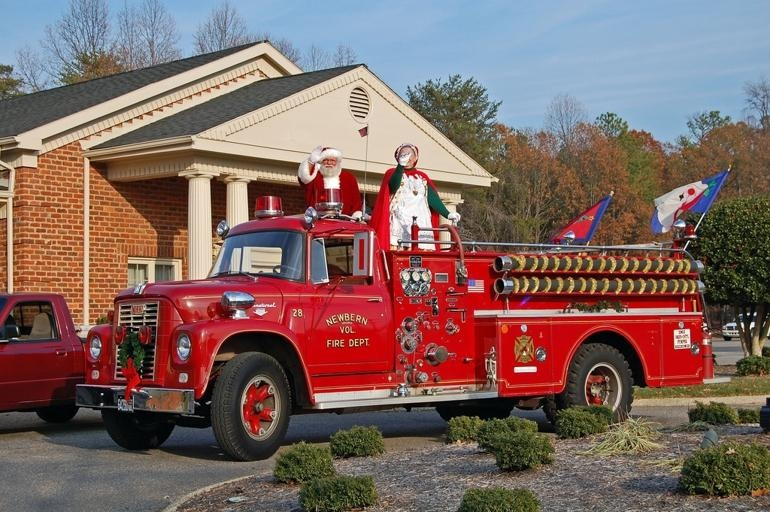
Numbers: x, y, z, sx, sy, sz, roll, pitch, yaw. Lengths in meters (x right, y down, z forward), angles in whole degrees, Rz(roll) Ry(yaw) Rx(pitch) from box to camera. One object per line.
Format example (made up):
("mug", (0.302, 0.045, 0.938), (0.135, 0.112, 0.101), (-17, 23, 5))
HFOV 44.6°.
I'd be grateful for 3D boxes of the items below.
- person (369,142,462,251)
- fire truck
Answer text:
("person", (0.478, -0.943, 16.931), (1.255, 2.109, 1.095), (5, -9, -25))
("fire truck", (0.107, 1.371, 16.623), (13.493, 4.818, 4.360), (1, -2, -9))
